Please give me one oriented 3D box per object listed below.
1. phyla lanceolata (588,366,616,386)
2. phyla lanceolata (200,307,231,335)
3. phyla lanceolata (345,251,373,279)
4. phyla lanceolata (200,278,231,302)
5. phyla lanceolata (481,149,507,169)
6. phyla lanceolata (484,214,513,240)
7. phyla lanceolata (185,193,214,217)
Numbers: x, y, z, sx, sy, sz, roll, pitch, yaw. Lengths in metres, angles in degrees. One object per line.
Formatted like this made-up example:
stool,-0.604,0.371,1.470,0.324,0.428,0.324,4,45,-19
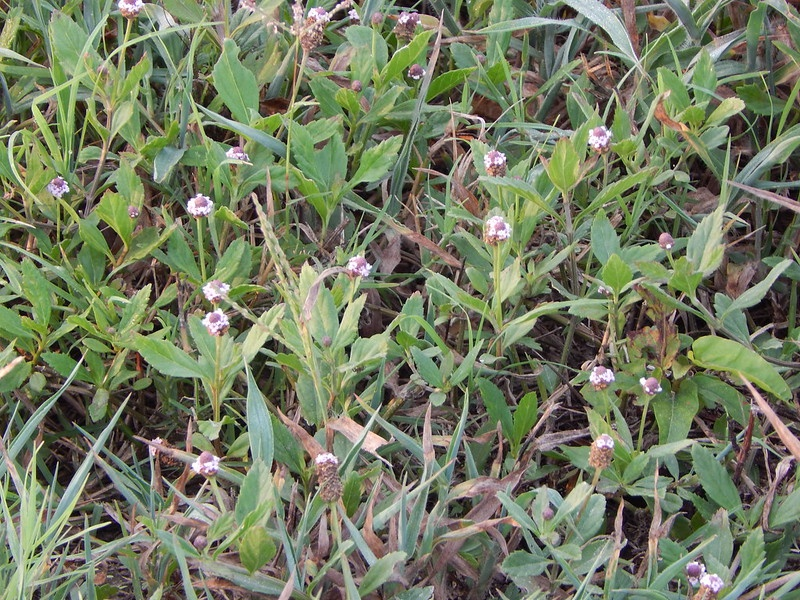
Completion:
phyla lanceolata,0.334,0.115,1.126,0.034,0.035,0.028,-3,101,-32
phyla lanceolata,-0.286,0.022,1.058,0.036,0.025,0.046,-15,100,7
phyla lanceolata,-0.068,-0.057,1.124,0.039,0.041,0.027,34,99,19
phyla lanceolata,-0.306,-0.018,1.138,0.029,0.034,0.019,0,105,4
phyla lanceolata,0.167,-0.263,1.263,0.036,0.026,0.046,0,64,13
phyla lanceolata,0.164,-0.124,1.148,0.037,0.035,0.061,-2,65,0
phyla lanceolata,-0.373,-0.168,1.263,0.039,0.026,0.050,1,85,-6
